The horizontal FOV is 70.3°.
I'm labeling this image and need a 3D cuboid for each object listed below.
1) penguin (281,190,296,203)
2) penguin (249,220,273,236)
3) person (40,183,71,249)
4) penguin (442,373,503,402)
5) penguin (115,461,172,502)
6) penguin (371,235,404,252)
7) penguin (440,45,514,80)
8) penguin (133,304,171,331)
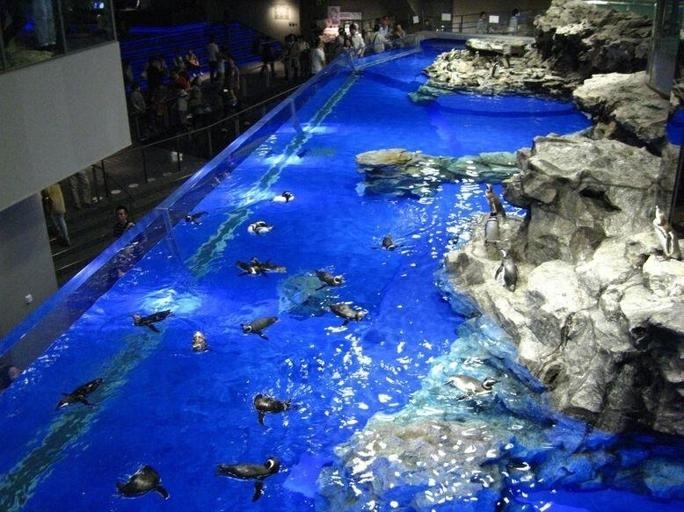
[{"bbox_3d":[-1.095,-1.193,9.852,0.232,0.106,0.281,-9,28,-25],"label":"penguin"},{"bbox_3d":[-1.486,-0.505,8.778,0.327,0.119,0.298,-5,17,3],"label":"penguin"},{"bbox_3d":[-5.676,-0.800,9.694,0.330,1.294,0.277,-16,29,-25],"label":"person"},{"bbox_3d":[1.476,1.487,5.522,0.554,0.235,0.217,-2,6,23],"label":"penguin"},{"bbox_3d":[-1.934,2.221,4.917,0.512,0.168,0.540,-3,19,-10],"label":"penguin"},{"bbox_3d":[0.796,-0.198,8.312,0.394,0.125,0.335,1,30,4],"label":"penguin"},{"bbox_3d":[5.111,-7.405,18.266,2.655,0.687,1.548,-15,50,-3],"label":"penguin"},{"bbox_3d":[-2.615,0.845,6.649,0.395,0.087,0.226,-13,57,-26],"label":"penguin"}]
